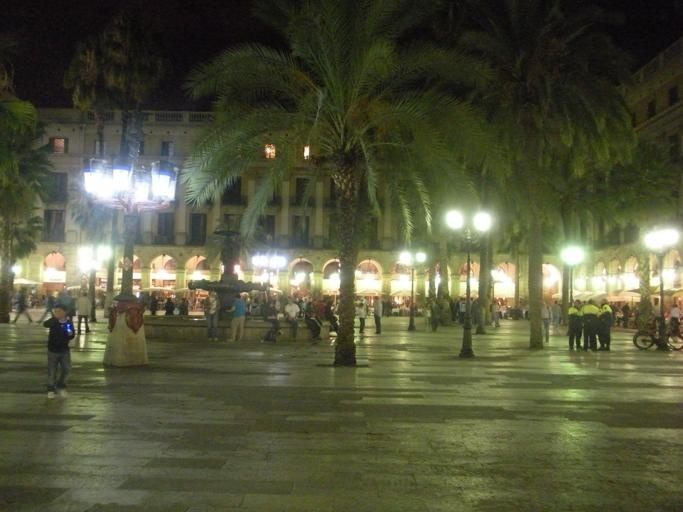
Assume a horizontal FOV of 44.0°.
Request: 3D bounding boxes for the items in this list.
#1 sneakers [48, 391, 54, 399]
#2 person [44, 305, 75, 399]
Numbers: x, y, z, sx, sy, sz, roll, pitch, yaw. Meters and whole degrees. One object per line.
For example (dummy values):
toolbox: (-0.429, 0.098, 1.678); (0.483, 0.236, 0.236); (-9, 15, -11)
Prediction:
sneakers: (-6.441, 3.075, 18.767); (0.134, 0.145, 0.143); (1, -8, -3)
person: (-6.405, 2.163, 19.130); (0.486, 2.000, 0.684); (-2, -6, 28)
